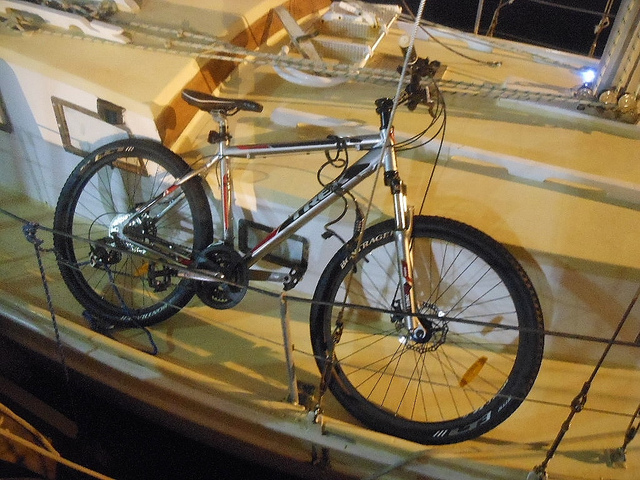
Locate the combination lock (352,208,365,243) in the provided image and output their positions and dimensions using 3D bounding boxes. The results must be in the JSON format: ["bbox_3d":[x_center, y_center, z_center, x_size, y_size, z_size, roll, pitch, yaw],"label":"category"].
[{"bbox_3d":[0.209,-0.070,3.280,0.059,0.194,0.081,3,-28,-1],"label":"combination lock"}]
